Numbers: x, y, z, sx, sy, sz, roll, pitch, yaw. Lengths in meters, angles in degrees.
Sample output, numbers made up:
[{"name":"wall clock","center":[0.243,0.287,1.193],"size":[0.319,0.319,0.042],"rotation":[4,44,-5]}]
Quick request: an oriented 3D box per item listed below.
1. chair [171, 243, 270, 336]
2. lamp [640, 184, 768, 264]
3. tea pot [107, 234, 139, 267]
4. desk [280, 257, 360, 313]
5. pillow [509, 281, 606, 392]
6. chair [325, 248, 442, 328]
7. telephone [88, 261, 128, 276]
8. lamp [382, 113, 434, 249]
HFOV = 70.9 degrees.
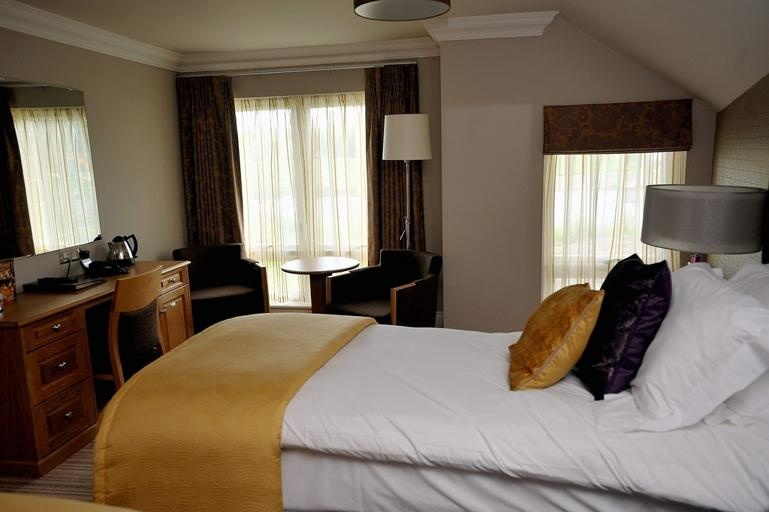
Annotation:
[{"name":"chair","center":[-1.878,0.325,6.609],"size":[0.960,1.335,1.093],"rotation":[-4,3,-24]},{"name":"lamp","center":[2.215,-0.241,3.888],"size":[0.585,0.361,0.598],"rotation":[1,7,7]},{"name":"tea pot","center":[-2.741,-0.068,5.675],"size":[0.345,0.358,0.288],"rotation":[2,-2,-26]},{"name":"desk","center":[-0.708,0.191,6.044],"size":[0.663,0.771,0.687],"rotation":[4,11,31]},{"name":"pillow","center":[1.090,0.489,3.604],"size":[0.543,0.504,0.918],"rotation":[-15,6,9]},{"name":"chair","center":[0.049,0.344,5.845],"size":[0.834,1.213,1.062],"rotation":[4,4,31]},{"name":"telephone","center":[-2.723,0.129,5.304],"size":[0.257,0.096,0.186],"rotation":[1,-2,-2]},{"name":"lamp","center":[0.265,-0.826,6.139],"size":[0.512,1.540,0.552],"rotation":[-2,10,3]}]
